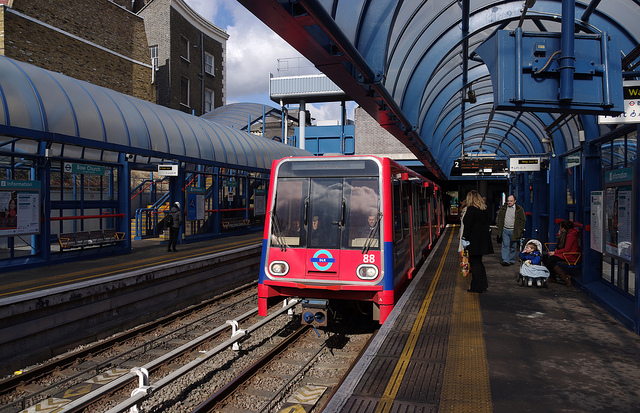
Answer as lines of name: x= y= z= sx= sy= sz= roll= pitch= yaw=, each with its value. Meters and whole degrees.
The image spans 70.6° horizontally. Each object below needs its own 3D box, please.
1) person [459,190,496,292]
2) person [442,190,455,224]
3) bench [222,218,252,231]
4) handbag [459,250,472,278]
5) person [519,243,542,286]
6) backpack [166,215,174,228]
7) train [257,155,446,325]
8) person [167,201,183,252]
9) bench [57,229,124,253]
person: x=4.189 y=0.962 z=12.032 sx=0.922 sy=2.594 sz=0.940 roll=-7 pitch=-12 yaw=44
person: x=12.271 y=-0.056 z=43.005 sx=1.294 sy=2.653 sz=0.597 roll=-3 pitch=-11 yaw=32
bench: x=-4.511 y=1.005 z=24.547 sx=0.552 sy=0.430 sz=2.974 roll=-8 pitch=-4 yaw=13
handbag: x=4.352 y=1.727 z=13.429 sx=0.122 sy=0.417 sz=1.005 roll=-23 pitch=1 yaw=11
person: x=6.003 y=1.606 z=12.816 sx=0.500 sy=1.107 sz=0.757 roll=2 pitch=14 yaw=17
backpack: x=-5.864 y=0.599 z=17.827 sx=0.346 sy=0.677 sz=0.458 roll=1 pitch=0 yaw=-16
train: x=1.303 y=0.720 z=11.959 sx=2.887 sy=4.234 sz=6.002 roll=11 pitch=18 yaw=43
person: x=-5.809 y=0.775 z=18.334 sx=0.607 sy=1.923 sz=1.356 roll=-3 pitch=13 yaw=-5
bench: x=-8.364 y=1.148 z=16.498 sx=0.455 sy=0.586 sz=2.334 roll=-21 pitch=-9 yaw=13
